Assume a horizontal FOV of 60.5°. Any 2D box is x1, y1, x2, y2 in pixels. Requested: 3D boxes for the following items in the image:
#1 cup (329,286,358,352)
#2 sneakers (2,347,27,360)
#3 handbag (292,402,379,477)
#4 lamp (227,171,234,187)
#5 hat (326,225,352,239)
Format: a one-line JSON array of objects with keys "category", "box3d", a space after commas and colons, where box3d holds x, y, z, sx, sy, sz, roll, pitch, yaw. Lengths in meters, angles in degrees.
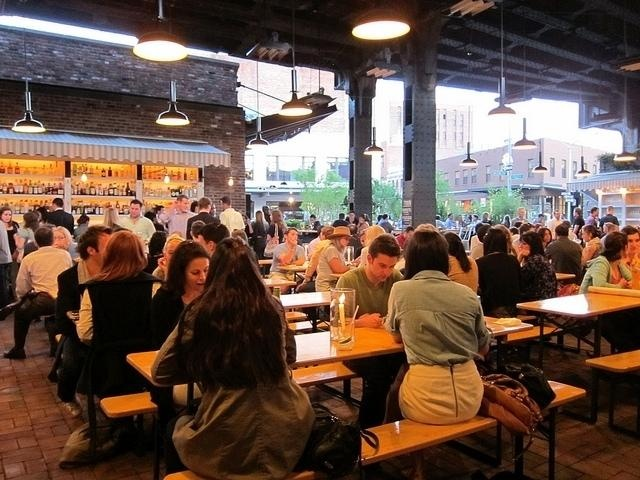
[{"category": "cup", "box3d": [0.206, 0.701, 4.911, 0.222, 0.540, 0.229, -1, 5, 0]}, {"category": "sneakers", "box3d": [-4.428, 1.644, 7.963, 0.325, 0.130, 0.145, 6, -2, -3]}, {"category": "handbag", "box3d": [0.045, 1.463, 4.168, 0.469, 0.218, 0.588, 34, 35, -13]}, {"category": "lamp", "box3d": [-2.647, -1.780, 16.285, 0.160, 0.411, 0.303, -1, 5, -4]}, {"category": "hat", "box3d": [0.288, -0.153, 8.331, 0.276, 0.100, 0.247, -8, -10, 33]}]
